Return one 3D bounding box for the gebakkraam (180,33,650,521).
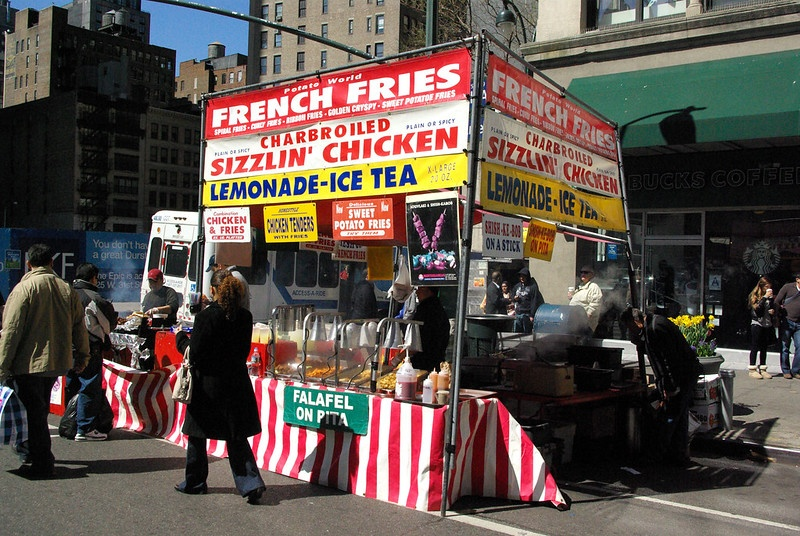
[{"bbox_3d":[0.414,0.410,13.101,6.368,6.194,6.537,-1,1,32],"label":"gebakkraam"}]

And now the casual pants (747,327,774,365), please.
[{"bbox_3d":[8.205,1.763,16.391,0.456,1.071,0.886,8,10,33],"label":"casual pants"}]

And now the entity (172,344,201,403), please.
[{"bbox_3d":[-2.801,1.382,9.310,0.245,0.799,0.451,-1,9,-20],"label":"entity"}]

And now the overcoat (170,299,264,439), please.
[{"bbox_3d":[-2.290,1.334,9.253,0.945,1.724,0.481,-1,9,-18],"label":"overcoat"}]

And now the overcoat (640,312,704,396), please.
[{"bbox_3d":[4.126,1.268,11.085,0.677,1.186,0.815,-8,-2,17],"label":"overcoat"}]
